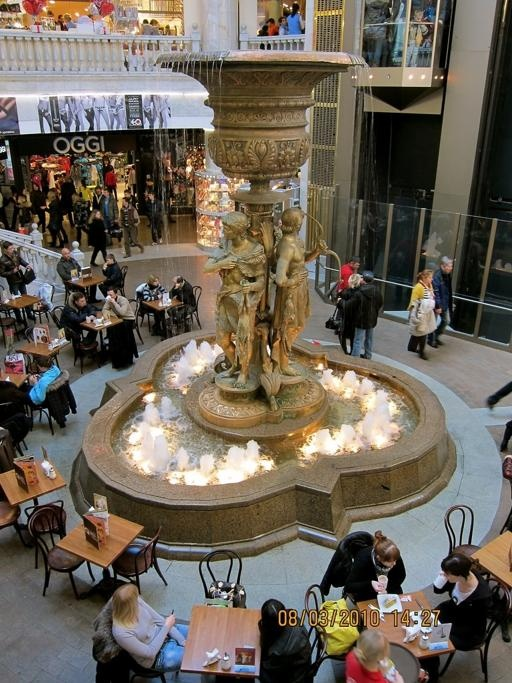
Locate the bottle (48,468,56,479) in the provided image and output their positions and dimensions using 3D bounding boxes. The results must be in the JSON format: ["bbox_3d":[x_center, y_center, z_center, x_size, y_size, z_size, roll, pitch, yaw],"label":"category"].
[{"bbox_3d":[-1.921,1.244,4.231,0.089,0.089,0.058,3,8,44],"label":"bottle"}]

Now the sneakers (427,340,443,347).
[{"bbox_3d":[3.456,0.026,8.760,0.143,0.113,0.340,-1,14,-24],"label":"sneakers"}]

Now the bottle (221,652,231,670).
[{"bbox_3d":[-0.156,1.697,2.395,0.049,0.111,0.050,0,28,0],"label":"bottle"}]

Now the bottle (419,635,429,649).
[{"bbox_3d":[0.944,1.682,2.522,0.056,0.063,0.056,1,6,7],"label":"bottle"}]

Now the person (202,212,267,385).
[{"bbox_3d":[-0.211,-0.422,5.193,0.632,2.083,0.493,-1,24,1],"label":"person"}]

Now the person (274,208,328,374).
[{"bbox_3d":[0.445,-0.488,5.269,0.555,2.050,0.461,0,24,2],"label":"person"}]

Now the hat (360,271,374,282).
[{"bbox_3d":[1.806,-1.031,7.296,0.219,0.098,0.299,1,34,3],"label":"hat"}]
